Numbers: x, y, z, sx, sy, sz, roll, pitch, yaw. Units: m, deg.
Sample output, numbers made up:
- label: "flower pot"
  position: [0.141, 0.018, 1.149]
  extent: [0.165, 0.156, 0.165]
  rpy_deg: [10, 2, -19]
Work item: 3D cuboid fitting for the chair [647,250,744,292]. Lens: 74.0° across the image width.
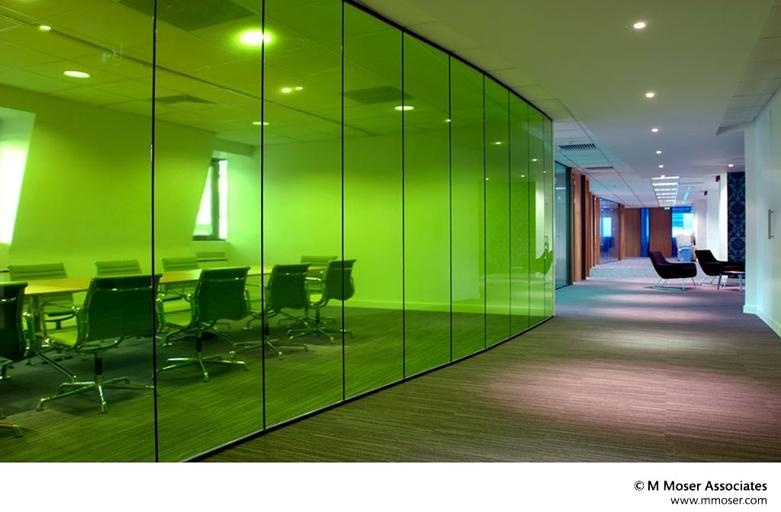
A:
- label: "chair"
  position: [8.298, 0.336, 14.174]
  extent: [2.101, 1.014, 2.708]
  rpy_deg: [2, 5, 29]
